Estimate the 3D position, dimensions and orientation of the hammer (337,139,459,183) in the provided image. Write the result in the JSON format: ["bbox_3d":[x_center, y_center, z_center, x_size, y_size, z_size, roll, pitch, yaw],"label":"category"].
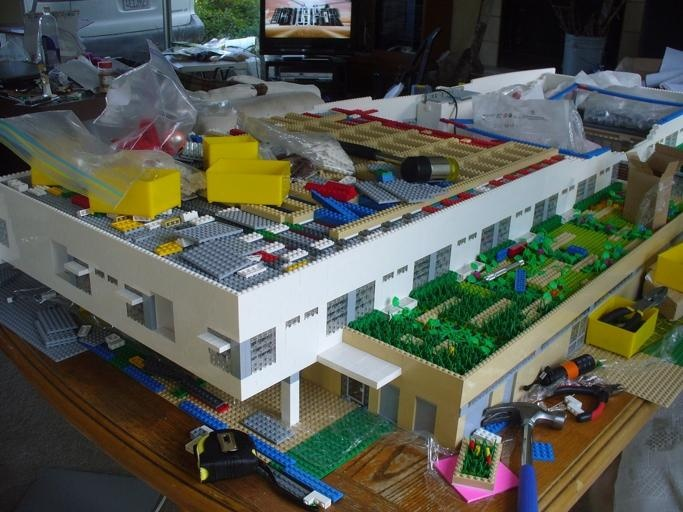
[{"bbox_3d":[0.232,-0.476,2.253,0.179,0.109,0.485,-18,34,-30],"label":"hammer"}]

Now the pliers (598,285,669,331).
[{"bbox_3d":[1.159,0.200,2.101,0.409,0.065,0.136,-24,38,-36],"label":"pliers"}]

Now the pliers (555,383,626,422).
[{"bbox_3d":[0.822,0.455,1.764,0.239,0.039,0.147,-16,34,-26],"label":"pliers"}]

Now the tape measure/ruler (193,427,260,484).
[{"bbox_3d":[-0.325,0.560,1.512,0.174,0.057,0.186,4,14,-14],"label":"tape measure/ruler"}]
